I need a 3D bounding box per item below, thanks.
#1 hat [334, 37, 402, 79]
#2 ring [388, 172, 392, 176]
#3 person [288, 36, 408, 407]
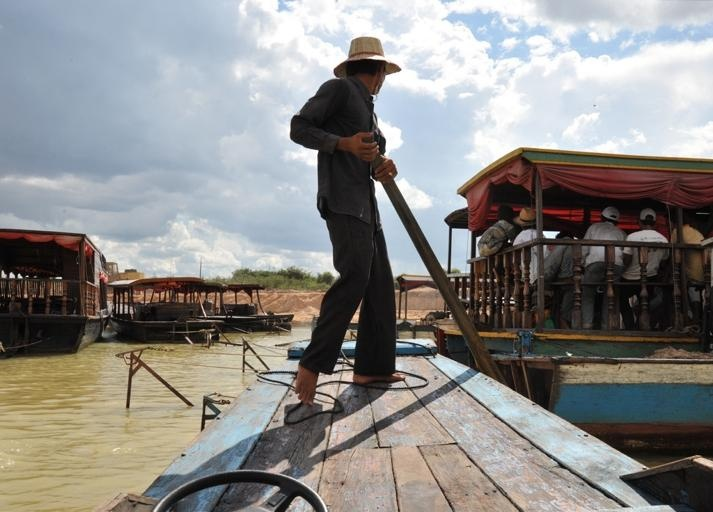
[{"bbox_3d":[0.102,-1.656,4.442,0.558,0.217,0.532,2,8,15],"label":"hat"},{"bbox_3d":[0.253,-0.628,4.114,0.022,0.008,0.027,-4,-39,10],"label":"ring"},{"bbox_3d":[-0.038,-0.371,4.005,0.771,2.782,1.079,1,3,10],"label":"person"}]
